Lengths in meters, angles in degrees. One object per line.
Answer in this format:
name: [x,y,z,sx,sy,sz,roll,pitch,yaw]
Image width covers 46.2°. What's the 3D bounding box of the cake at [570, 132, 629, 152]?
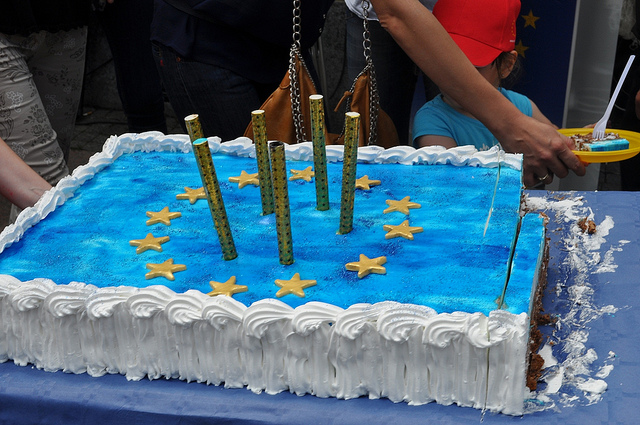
cake: [1.835,-0.466,4.933,0.335,0.072,0.320,2,20,9]
